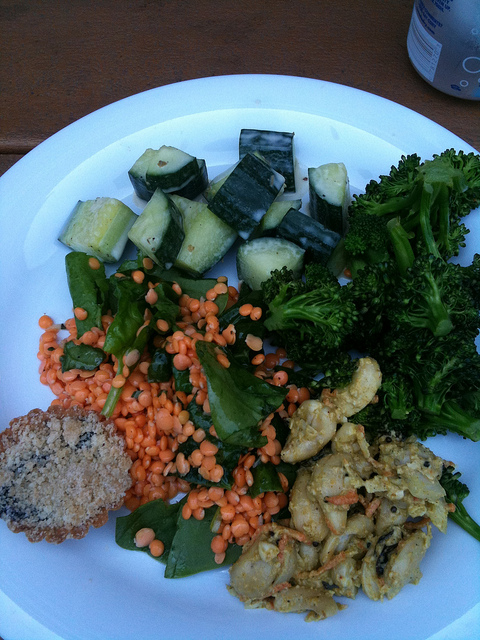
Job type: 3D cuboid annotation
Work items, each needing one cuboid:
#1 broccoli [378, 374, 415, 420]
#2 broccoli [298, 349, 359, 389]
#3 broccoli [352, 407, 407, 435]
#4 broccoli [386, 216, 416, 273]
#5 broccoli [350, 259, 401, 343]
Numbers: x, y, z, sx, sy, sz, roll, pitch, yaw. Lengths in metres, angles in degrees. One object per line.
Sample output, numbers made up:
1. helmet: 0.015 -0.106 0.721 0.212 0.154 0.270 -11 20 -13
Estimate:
1. broccoli: 0.726 0.344 2.818 0.158 0.147 0.146 -24 113 17
2. broccoli: 0.427 0.247 2.866 0.222 0.085 0.179 -6 86 27
3. broccoli: 0.661 0.482 2.918 0.221 0.219 0.129 -8 106 -8
4. broccoli: 0.809 -0.377 3.003 0.119 0.134 0.277 -13 64 -6
5. broccoli: 0.615 -0.095 2.925 0.297 0.177 0.340 23 110 32
